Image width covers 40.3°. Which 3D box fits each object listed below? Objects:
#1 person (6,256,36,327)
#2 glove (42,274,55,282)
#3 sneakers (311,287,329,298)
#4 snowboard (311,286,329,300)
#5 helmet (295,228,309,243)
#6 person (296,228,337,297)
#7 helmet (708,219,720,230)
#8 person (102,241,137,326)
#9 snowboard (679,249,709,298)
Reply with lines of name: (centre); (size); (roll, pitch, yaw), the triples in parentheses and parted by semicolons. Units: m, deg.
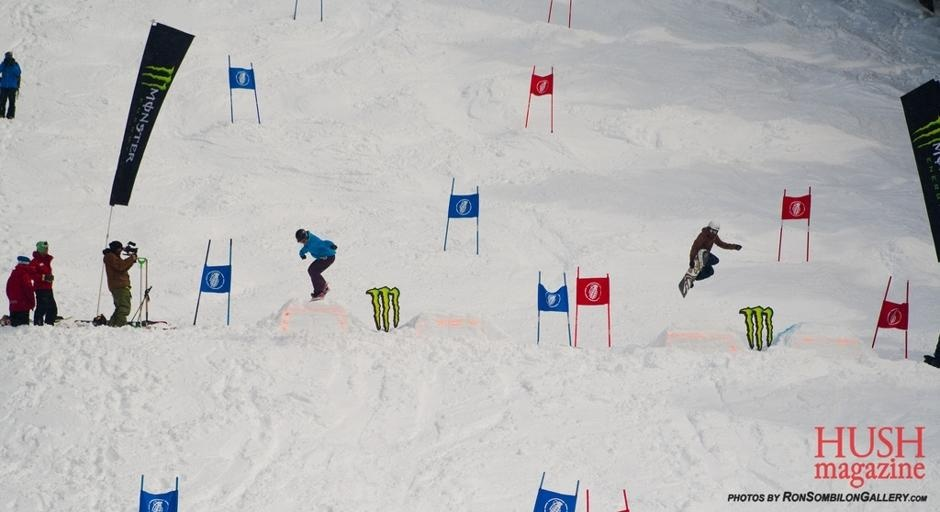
person: (-10.252, 0.786, 29.326); (0.607, 1.363, 0.313); (2, -1, -21)
glove: (-9.675, 0.484, 29.516); (0.154, 0.125, 0.312); (1, -1, 16)
sneakers: (-3.644, 0.921, 31.429); (0.483, 0.207, 0.180); (-25, -7, -1)
snowboard: (-3.616, 0.910, 31.408); (0.506, 0.218, 0.186); (-12, -4, -19)
helmet: (-4.150, -0.493, 31.361); (0.294, 0.383, 0.366); (3, 12, 6)
person: (-3.813, 0.184, 31.679); (1.004, 1.204, 1.602); (2, -1, -8)
helmet: (6.111, -0.811, 32.174); (0.254, 0.224, 0.271); (4, 1, -14)
person: (-8.225, 0.628, 30.122); (0.750, 1.584, 1.073); (2, -1, -16)
snowboard: (5.620, 0.413, 32.331); (0.269, 1.543, 0.418); (-23, 57, -42)
